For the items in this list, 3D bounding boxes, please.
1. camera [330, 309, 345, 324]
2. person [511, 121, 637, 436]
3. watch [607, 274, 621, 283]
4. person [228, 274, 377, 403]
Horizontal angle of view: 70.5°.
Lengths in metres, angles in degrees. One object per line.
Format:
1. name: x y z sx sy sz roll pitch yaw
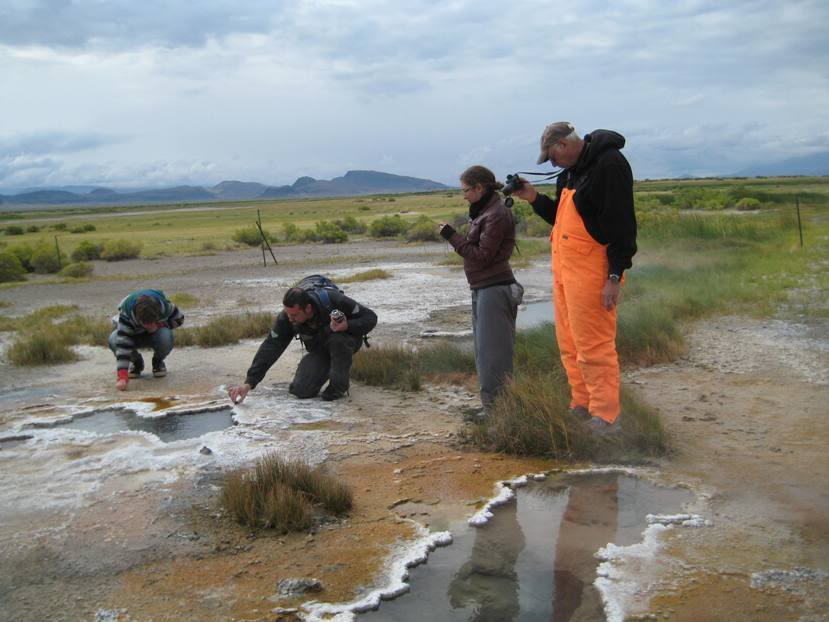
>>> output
1. camera: -0.876 0.061 6.589 0.159 0.146 0.100 -14 51 2
2. person: 1.546 -0.331 5.408 0.568 2.703 1.123 -8 15 -20
3. watch: 1.720 -0.281 5.020 0.105 0.079 0.070 0 13 9
4. person: -1.219 0.368 6.826 1.383 1.439 0.762 -14 18 -41
